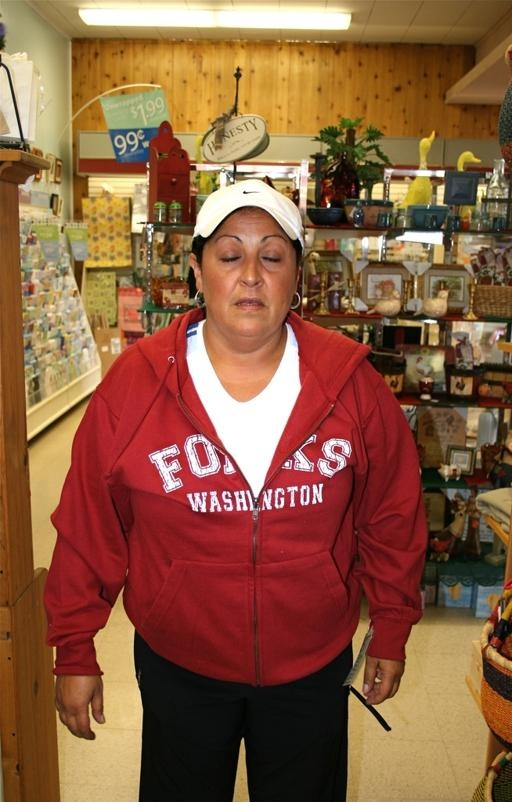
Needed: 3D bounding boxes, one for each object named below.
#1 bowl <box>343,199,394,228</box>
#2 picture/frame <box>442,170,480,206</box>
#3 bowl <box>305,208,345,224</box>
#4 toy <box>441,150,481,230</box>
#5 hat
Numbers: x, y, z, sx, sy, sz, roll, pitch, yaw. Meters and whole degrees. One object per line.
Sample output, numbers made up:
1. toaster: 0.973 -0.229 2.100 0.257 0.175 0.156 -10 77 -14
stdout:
1. bowl: 0.609 -1.011 3.282 0.187 0.093 0.185 0 11 0
2. picture/frame: 1.114 -1.156 3.270 0.173 0.193 0.177 2 8 -4
3. bowl: 0.386 -1.024 3.287 0.129 0.063 0.134 -1 13 0
4. toy: 1.213 -1.301 3.522 0.164 0.345 0.119 12 17 23
5. hat: -0.008 -0.336 1.164 0.188 0.126 0.264 2 2 -3
